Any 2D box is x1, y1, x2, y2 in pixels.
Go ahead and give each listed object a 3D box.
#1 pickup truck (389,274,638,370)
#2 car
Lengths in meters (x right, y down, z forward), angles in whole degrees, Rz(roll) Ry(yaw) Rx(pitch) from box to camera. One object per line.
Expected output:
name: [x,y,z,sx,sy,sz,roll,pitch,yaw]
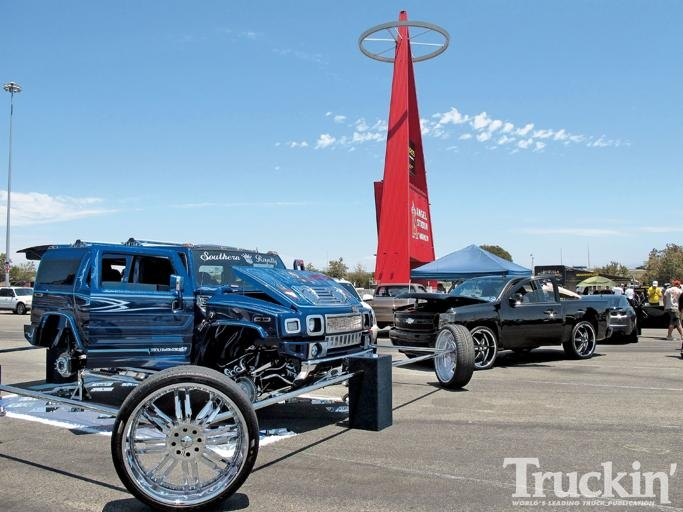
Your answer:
pickup truck: [3.952,1.454,12.962,4.828,1.244,2.194,3,-7,-28]
car: [-2.179,0.824,8.327,4.741,1.694,2.453,-4,-5,24]
